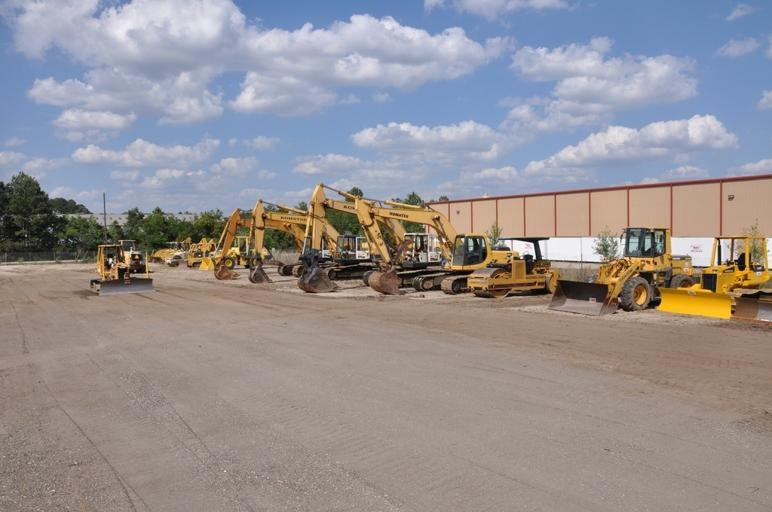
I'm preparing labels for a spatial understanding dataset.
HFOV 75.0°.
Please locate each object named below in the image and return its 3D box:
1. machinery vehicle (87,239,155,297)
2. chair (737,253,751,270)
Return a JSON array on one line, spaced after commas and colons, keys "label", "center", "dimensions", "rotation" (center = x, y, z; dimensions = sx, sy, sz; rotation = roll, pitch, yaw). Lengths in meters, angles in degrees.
[{"label": "machinery vehicle", "center": [-14.614, 1.111, 27.600], "dimensions": [2.795, 2.713, 5.638], "rotation": [1, 3, -30]}, {"label": "chair", "center": [12.064, 0.179, 17.075], "dimensions": [0.488, 0.589, 0.399], "rotation": [1, -2, -39]}]
